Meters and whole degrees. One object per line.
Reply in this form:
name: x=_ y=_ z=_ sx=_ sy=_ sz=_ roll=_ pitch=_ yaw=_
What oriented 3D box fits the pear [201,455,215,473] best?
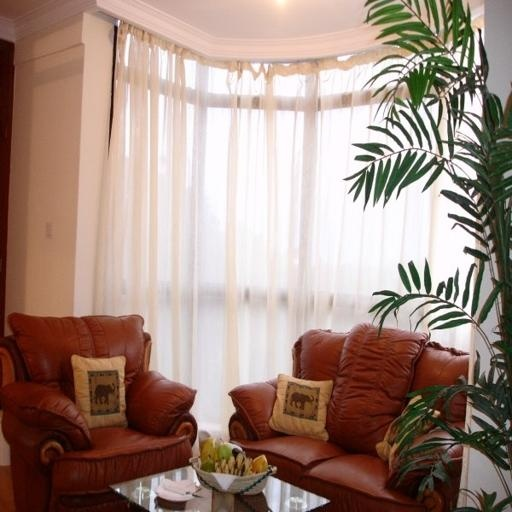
pear: x=-0.187 y=0.813 z=1.884 sx=0.038 sy=0.044 sz=0.059 roll=22 pitch=28 yaw=-18

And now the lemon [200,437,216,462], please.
lemon: x=-0.194 y=0.776 z=1.950 sx=0.054 sy=0.089 sz=0.042 roll=9 pitch=-19 yaw=-40

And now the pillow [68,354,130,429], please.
pillow: x=-0.921 y=0.787 z=2.787 sx=0.118 sy=0.414 sz=0.279 roll=-25 pitch=-27 yaw=37

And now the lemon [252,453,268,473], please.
lemon: x=0.017 y=0.823 z=1.938 sx=0.049 sy=0.065 sz=0.037 roll=43 pitch=-27 yaw=-21
